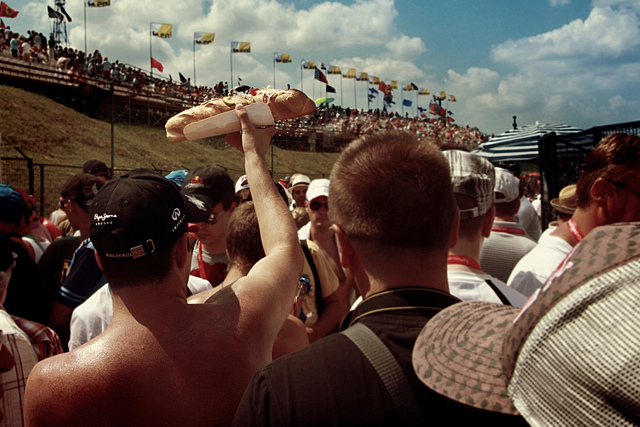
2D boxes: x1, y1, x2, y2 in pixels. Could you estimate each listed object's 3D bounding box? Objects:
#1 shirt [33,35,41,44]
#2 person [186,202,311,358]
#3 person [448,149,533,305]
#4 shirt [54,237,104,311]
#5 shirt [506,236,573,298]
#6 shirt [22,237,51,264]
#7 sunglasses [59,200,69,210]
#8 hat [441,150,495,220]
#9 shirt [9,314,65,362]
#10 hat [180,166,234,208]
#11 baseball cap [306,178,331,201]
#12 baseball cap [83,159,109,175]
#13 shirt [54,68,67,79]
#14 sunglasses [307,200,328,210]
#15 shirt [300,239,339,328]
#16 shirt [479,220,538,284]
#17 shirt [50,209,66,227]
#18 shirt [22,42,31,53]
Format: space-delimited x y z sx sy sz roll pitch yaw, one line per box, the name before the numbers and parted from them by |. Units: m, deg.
shirt | -17.428 -10.691 32.719 0.348 0.674 0.385 -1 42 -14
person | -0.385 0.349 2.773 0.902 0.782 0.474 -4 10 15
person | 0.805 0.082 2.966 0.350 0.701 0.710 -15 16 10
shirt | -1.637 0.441 3.602 0.383 0.550 0.233 0 -3 9
shirt | 1.199 0.297 2.911 0.305 0.159 0.230 -48 1 -29
shirt | -2.333 0.319 4.345 0.114 0.216 0.162 -34 -18 16
sunglasses | -2.527 -0.079 5.233 0.092 0.110 0.106 -10 25 -19
hat | 0.841 -0.160 2.958 0.282 0.352 0.338 3 11 11
shirt | -1.555 0.681 2.960 0.258 0.103 0.280 26 13 -43
hat | -0.876 -0.191 4.121 0.444 0.300 0.536 -1 1 -23
baseball cap | -0.029 -0.243 5.531 0.219 0.201 0.349 0 -2 -3
baseball cap | -2.594 -0.527 6.134 0.224 0.198 0.314 4 9 29
shirt | -15.883 -8.557 32.347 0.500 0.624 1.166 -1 11 -9
sunglasses | -0.048 -0.076 5.285 0.223 0.079 0.129 6 12 26
shirt | 0.002 0.622 4.389 0.264 0.698 0.584 1 -4 -17
shirt | 1.306 0.290 3.714 0.218 0.446 0.618 0 -3 -32
shirt | -3.408 0.075 6.817 0.187 0.239 0.254 -2 1 -3
shirt | -17.469 -9.829 31.498 0.370 0.640 0.594 -6 12 -30
